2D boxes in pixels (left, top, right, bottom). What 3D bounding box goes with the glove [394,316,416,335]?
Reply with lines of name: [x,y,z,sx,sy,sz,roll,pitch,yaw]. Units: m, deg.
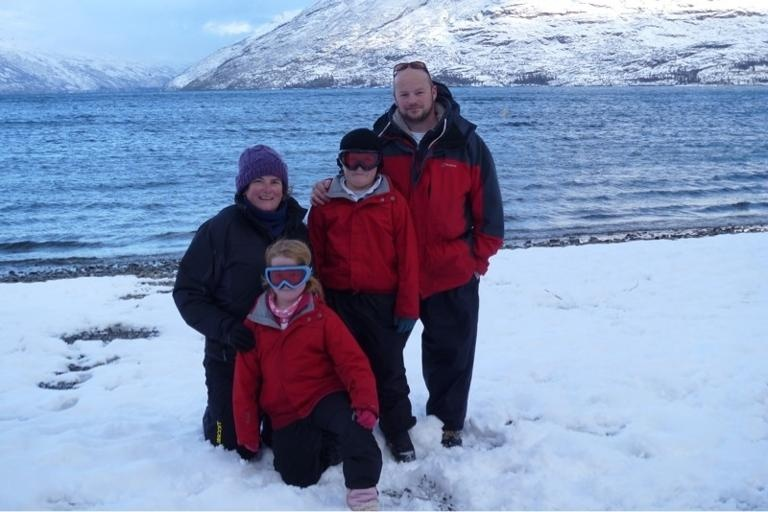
glove: [0.256,0.800,7.855,0.217,0.236,0.129,-4,14,-12]

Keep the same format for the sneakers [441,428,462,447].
sneakers: [0.799,2.125,8.091,0.206,0.144,0.198,0,-6,1]

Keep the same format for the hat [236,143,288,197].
hat: [-1.412,-0.991,7.927,0.584,0.543,0.294,-4,14,-12]

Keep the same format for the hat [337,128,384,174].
hat: [-0.263,-1.263,7.900,0.515,0.410,0.508,-1,1,-5]

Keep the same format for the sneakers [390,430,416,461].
sneakers: [0.195,2.166,7.940,0.202,0.239,0.378,-21,59,-19]

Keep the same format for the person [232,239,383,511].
person: [-0.811,1.252,7.558,1.643,2.751,0.742,4,14,18]
